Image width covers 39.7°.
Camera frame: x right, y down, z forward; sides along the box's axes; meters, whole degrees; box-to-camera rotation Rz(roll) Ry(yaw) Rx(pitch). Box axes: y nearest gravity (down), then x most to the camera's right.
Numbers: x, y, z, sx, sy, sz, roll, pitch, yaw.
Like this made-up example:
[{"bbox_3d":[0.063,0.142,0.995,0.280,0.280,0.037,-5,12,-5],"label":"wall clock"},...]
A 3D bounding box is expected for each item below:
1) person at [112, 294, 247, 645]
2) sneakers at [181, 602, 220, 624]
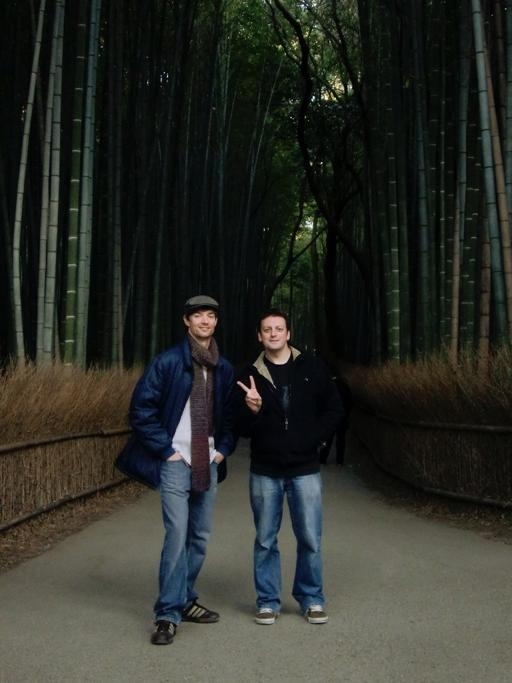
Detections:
[{"bbox_3d":[-0.239,0.426,2.538,0.488,0.984,0.412,1,-1,-40],"label":"person"},{"bbox_3d":[-0.201,0.978,2.530,0.121,0.094,0.062,-2,-4,14],"label":"sneakers"}]
